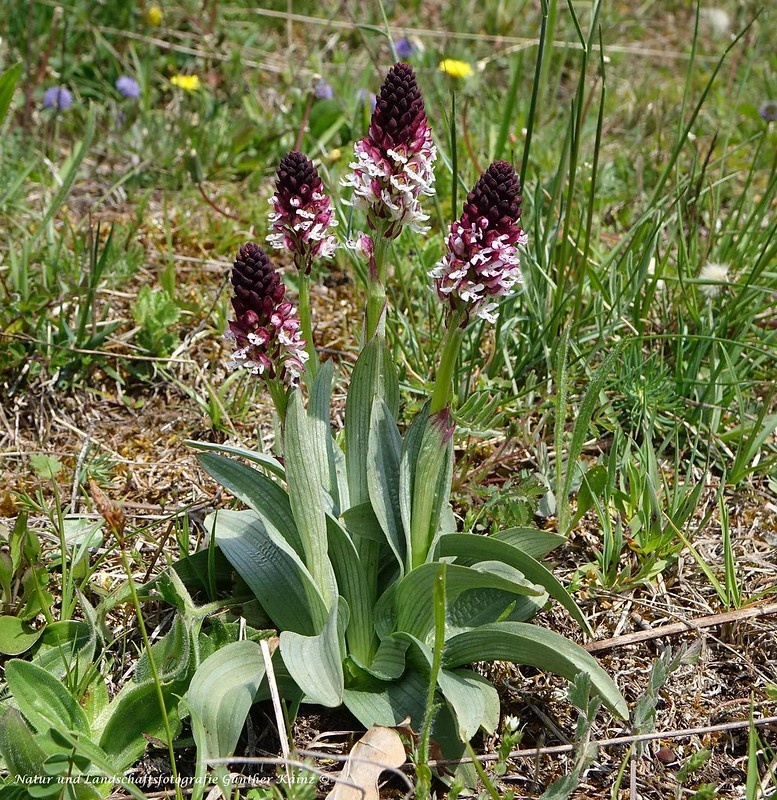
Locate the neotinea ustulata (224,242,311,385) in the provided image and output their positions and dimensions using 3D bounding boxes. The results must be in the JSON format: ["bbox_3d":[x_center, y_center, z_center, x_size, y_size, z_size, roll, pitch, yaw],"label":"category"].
[{"bbox_3d":[-0.303,-0.193,2.261,0.198,0.387,0.117,-1,32,-11],"label":"neotinea ustulata"}]
